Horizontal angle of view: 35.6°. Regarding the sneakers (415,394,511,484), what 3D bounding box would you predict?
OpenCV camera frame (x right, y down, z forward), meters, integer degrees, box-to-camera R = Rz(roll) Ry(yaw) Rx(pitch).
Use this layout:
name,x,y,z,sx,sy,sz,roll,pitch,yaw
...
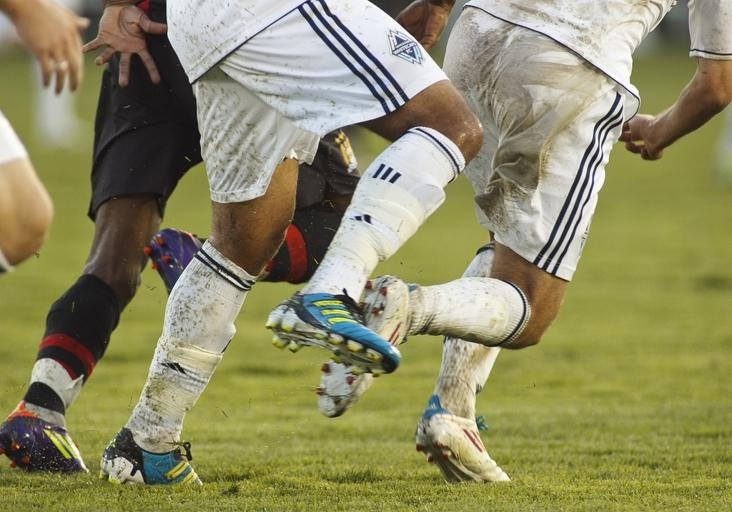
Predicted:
name,x,y,z,sx,sy,sz,roll,pitch,yaw
sneakers,0.405,0.792,4.850,0.228,0.131,0.361,20,55,-13

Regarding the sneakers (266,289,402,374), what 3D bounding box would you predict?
name,x,y,z,sx,sy,sz,roll,pitch,yaw
sneakers,-0.110,0.237,4.053,0.494,0.259,0.176,15,-30,24
